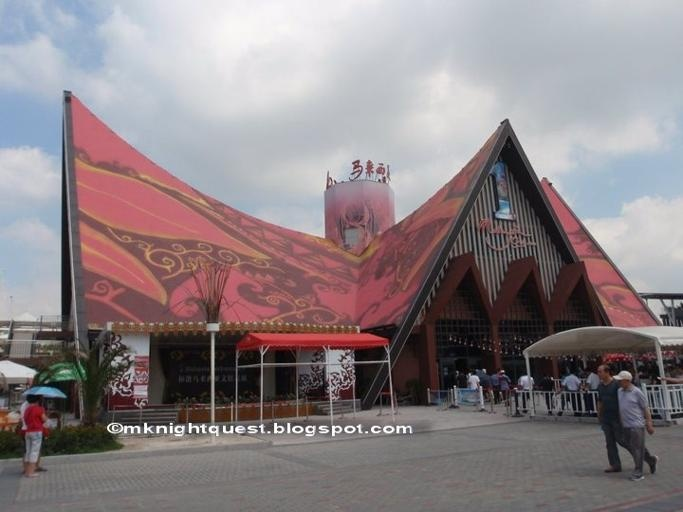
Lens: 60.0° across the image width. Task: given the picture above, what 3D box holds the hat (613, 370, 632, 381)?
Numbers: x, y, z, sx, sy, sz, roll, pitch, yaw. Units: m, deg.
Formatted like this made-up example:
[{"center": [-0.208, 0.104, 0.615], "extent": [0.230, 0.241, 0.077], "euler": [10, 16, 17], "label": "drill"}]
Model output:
[{"center": [6.287, 2.656, 13.150], "extent": [0.345, 0.191, 0.243], "euler": [2, -13, 19], "label": "hat"}]

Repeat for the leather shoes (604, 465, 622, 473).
[{"center": [5.988, 4.692, 13.050], "extent": [0.364, 0.160, 0.145], "euler": [6, -16, -7], "label": "leather shoes"}]

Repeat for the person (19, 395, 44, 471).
[{"center": [-7.578, 4.380, 14.524], "extent": [0.495, 1.920, 0.960], "euler": [6, -20, -28], "label": "person"}]
